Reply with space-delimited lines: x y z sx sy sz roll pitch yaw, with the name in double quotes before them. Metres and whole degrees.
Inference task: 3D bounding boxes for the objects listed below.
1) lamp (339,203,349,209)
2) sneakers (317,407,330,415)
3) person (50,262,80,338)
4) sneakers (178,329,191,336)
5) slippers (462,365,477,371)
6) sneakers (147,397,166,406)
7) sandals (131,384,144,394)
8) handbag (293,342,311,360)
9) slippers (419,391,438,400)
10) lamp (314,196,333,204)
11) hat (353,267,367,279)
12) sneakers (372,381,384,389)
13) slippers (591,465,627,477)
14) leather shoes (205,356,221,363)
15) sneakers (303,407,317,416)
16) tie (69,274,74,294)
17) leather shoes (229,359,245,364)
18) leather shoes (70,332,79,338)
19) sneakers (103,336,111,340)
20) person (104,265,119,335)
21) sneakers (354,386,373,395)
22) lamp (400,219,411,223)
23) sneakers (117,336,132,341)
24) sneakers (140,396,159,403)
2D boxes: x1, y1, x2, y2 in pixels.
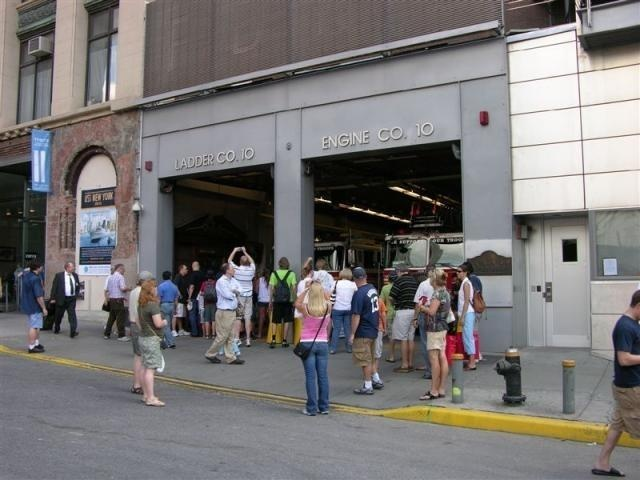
"lamp" 1.101 -1.574 30.963 0.524 0.227 0.982 2 3 3
"sneakers" 0.094 3.222 12.655 0.250 0.122 0.139 0 3 -37
"person" -7.578 1.750 19.885 0.770 2.229 1.528 1 2 -23
"sneakers" -4.195 2.863 20.708 0.366 0.179 0.151 1 1 6
"slippers" 3.377 2.890 15.080 0.311 0.103 0.129 3 -3 9
"sneakers" -3.142 3.074 12.730 0.265 0.125 0.164 0 0 2
"sandals" -3.666 2.997 13.437 0.260 0.216 0.552 1 -9 -15
"handbag" -0.324 2.088 12.367 0.297 0.322 0.112 31 22 32
"slippers" 2.148 3.042 13.119 0.264 0.116 0.159 0 -3 12
"lamp" 0.144 -1.759 29.495 0.662 0.280 1.815 2 3 8
"hat" 0.813 0.699 13.914 0.270 0.212 0.458 13 12 -4
"sneakers" 1.207 3.034 13.976 0.103 0.118 0.237 -1 2 -45
"slippers" 4.314 3.420 9.971 0.416 0.126 0.168 -2 -4 9
"leather shoes" -2.625 2.921 16.402 0.303 0.137 0.173 4 6 -9
"sneakers" -0.206 3.223 12.555 0.105 0.134 0.277 0 5 -21
"tie" -7.293 1.324 19.633 0.083 0.616 0.198 2 2 13
"leather shoes" -2.018 2.956 16.245 0.262 0.122 0.145 -1 0 6
"leather shoes" -7.239 2.769 19.695 0.233 0.159 0.390 1 3 -23
"sneakers" -6.272 2.856 19.685 0.203 0.095 0.074 1 3 1
"person" -6.114 1.704 19.397 0.326 1.977 1.476 1 2 -17
"sneakers" 0.895 3.061 13.648 0.394 0.186 0.153 1 -1 19
"lamp" 4.378 -0.970 34.138 0.353 0.094 0.363 4 -5 -35
"sneakers" -5.675 2.873 19.391 0.359 0.159 0.137 -6 -7 26
"sneakers" -3.245 3.044 12.734 0.280 0.130 0.144 0 2 -3
